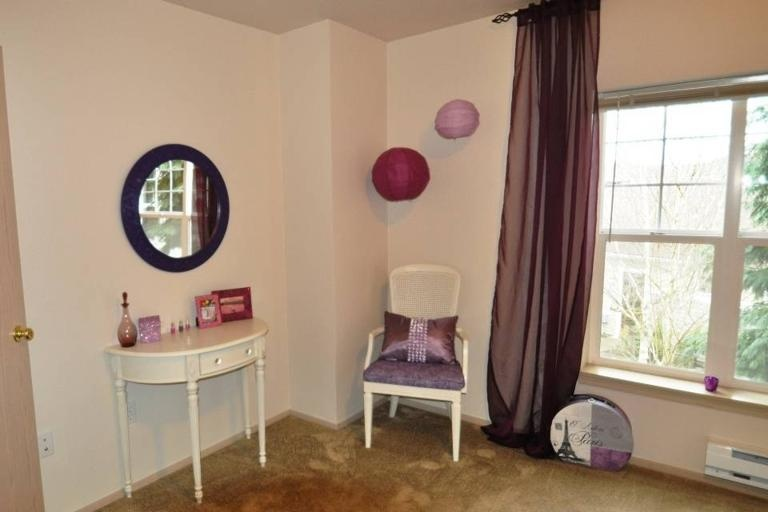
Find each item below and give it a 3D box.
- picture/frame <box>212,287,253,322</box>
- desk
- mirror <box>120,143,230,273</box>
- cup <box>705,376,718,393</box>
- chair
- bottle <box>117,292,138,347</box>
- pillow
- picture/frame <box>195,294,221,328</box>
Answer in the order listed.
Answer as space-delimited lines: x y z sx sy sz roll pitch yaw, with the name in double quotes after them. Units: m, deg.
-1.167 0.381 4.497 0.234 0.213 0.018 -2 -1 -34 "picture/frame"
-1.443 1.069 4.196 0.507 1.030 1.143 1 4 28 "desk"
-1.549 -0.343 4.285 0.929 1.084 0.054 2 1 -44 "mirror"
2.325 0.911 4.213 0.094 0.095 0.137 5 9 28 "cup"
0.258 0.794 4.692 0.815 1.358 0.787 1 9 8 "chair"
-1.764 0.433 4.046 0.128 0.362 0.191 -5 10 -27 "bottle"
0.265 0.687 4.712 0.559 0.435 0.237 6 -13 3 "pillow"
-1.310 0.419 4.383 0.226 0.300 0.023 -2 -2 -41 "picture/frame"
